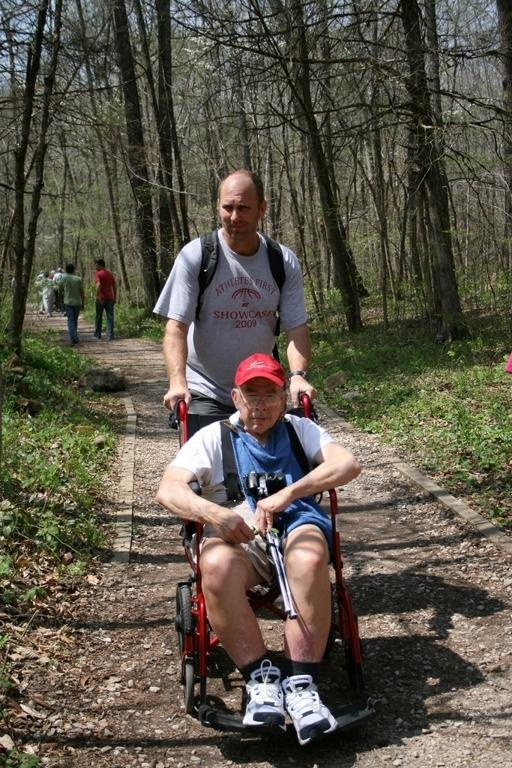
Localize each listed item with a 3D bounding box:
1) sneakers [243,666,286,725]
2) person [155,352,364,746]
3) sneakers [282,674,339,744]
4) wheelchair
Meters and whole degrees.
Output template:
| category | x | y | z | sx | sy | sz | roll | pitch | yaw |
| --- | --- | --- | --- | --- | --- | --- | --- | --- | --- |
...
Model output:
| category | x | y | z | sx | sy | sz | roll | pitch | yaw |
| --- | --- | --- | --- | --- | --- | --- | --- | --- | --- |
| sneakers | 0.024 | 1.036 | 2.343 | 0.137 | 0.160 | 0.203 | -2 | 5 | 1 |
| person | 0.009 | 0.617 | 2.659 | 0.768 | 1.430 | 0.911 | -1 | 5 | 7 |
| sneakers | 0.177 | 1.073 | 2.316 | 0.170 | 0.172 | 0.172 | -2 | 5 | -1 |
| wheelchair | -0.018 | 0.608 | 2.965 | 0.934 | 1.237 | 1.518 | 2 | -3 | 4 |
